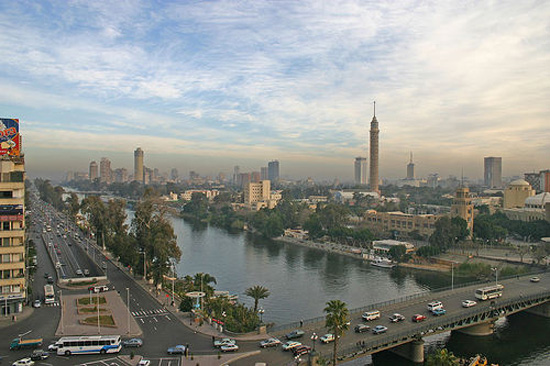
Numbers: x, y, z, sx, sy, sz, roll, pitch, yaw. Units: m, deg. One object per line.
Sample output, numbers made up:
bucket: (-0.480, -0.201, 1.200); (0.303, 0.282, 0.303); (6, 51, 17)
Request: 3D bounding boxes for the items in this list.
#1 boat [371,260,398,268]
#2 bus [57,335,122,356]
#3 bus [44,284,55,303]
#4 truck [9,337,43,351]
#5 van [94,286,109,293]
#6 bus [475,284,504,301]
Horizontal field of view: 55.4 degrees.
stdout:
boat: (41.705, 30.810, 199.500); (9.088, 2.078, 6.280); (4, 6, 8)
bus: (-43.469, 37.914, 122.594); (15.694, 4.076, 5.093); (4, -17, -6)
bus: (-62.489, 30.694, 145.221); (2.432, 1.984, 7.176); (3, 1, -29)
truck: (-57.755, 37.409, 121.535); (5.743, 1.780, 2.942); (5, -9, -17)
van: (-50.333, 30.795, 151.670); (2.730, 1.121, 1.804); (-2, 2, -12)
bus: (60.089, 30.554, 145.772); (8.093, 3.458, 3.306); (0, 8, -30)
